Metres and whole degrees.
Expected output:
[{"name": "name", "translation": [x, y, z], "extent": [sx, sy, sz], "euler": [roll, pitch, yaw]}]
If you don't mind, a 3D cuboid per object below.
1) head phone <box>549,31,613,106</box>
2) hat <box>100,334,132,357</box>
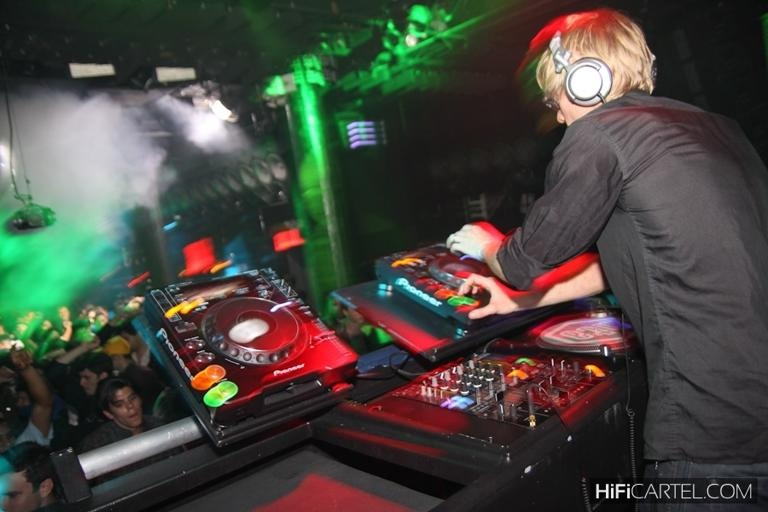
[{"name": "head phone", "translation": [0.564, -0.557, 1.517], "extent": [0.160, 0.200, 0.056], "euler": [-18, -5, 22]}, {"name": "hat", "translation": [-1.316, 0.444, 2.567], "extent": [0.101, 0.065, 0.105], "euler": [-10, -6, -20]}]
